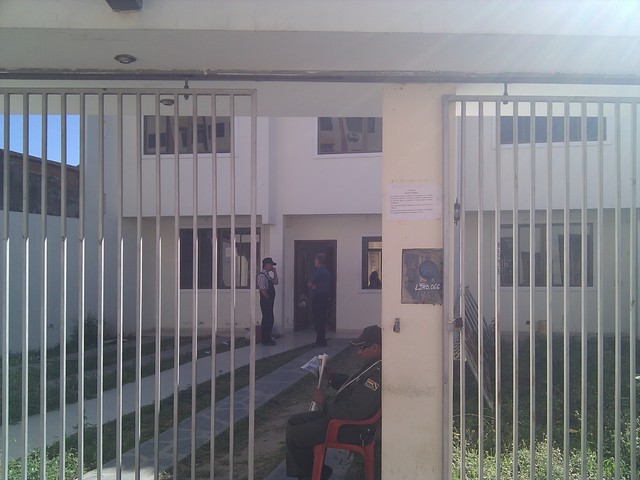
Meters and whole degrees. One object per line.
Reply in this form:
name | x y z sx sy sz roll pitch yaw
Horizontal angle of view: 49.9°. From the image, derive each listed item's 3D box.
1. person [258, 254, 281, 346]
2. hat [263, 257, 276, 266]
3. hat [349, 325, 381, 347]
person | -0.875 1.015 11.285 0.299 1.436 0.462 -1 2 -4
hat | -0.825 0.360 11.225 0.188 0.115 0.118 -2 3 -14
hat | 0.417 0.835 5.993 0.207 0.147 0.151 3 -5 6
